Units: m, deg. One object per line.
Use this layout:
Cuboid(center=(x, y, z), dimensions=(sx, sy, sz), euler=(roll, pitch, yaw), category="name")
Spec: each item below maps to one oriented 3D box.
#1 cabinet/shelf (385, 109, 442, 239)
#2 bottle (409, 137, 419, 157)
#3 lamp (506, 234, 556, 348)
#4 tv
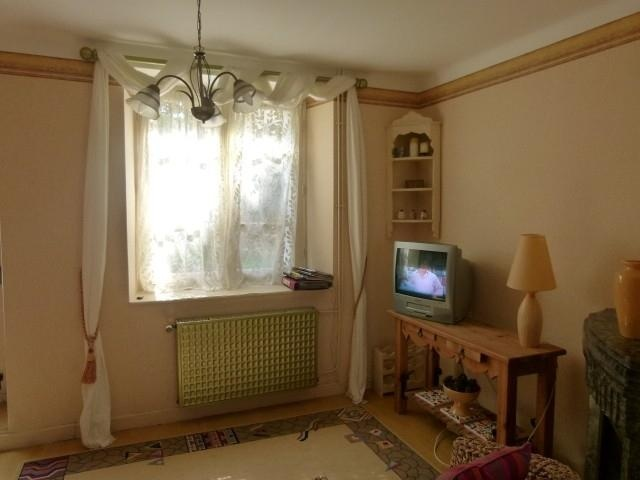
Cuboid(center=(0.904, -0.596, 4.773), dimensions=(0.514, 1.243, 0.376), euler=(1, 13, 1), category="cabinet/shelf")
Cuboid(center=(0.906, -0.889, 4.753), dimensions=(0.093, 0.176, 0.222), euler=(3, 14, 10), category="bottle")
Cuboid(center=(1.481, 0.365, 3.487), dimensions=(0.270, 0.794, 0.268), euler=(-10, 16, -38), category="lamp")
Cuboid(center=(0.931, 0.335, 4.336), dimensions=(0.562, 0.772, 0.692), euler=(0, 1, -41), category="tv")
